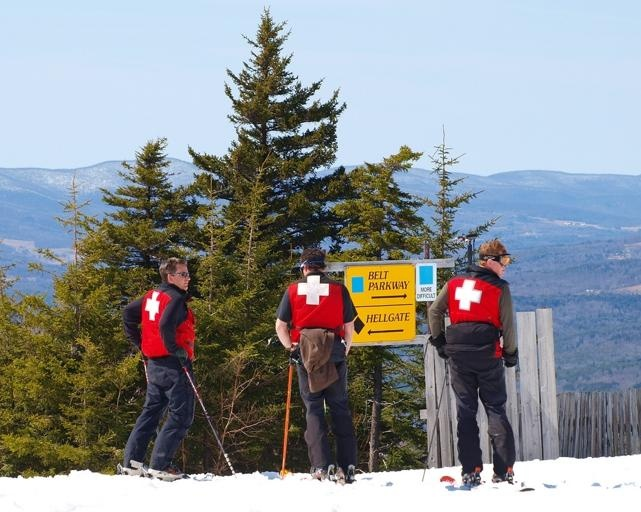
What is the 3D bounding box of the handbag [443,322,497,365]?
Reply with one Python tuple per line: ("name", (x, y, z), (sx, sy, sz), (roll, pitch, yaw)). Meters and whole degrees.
("handbag", (4.841, 2.732, 48.514), (1.740, 1.268, 0.389), (-2, -12, 1))
